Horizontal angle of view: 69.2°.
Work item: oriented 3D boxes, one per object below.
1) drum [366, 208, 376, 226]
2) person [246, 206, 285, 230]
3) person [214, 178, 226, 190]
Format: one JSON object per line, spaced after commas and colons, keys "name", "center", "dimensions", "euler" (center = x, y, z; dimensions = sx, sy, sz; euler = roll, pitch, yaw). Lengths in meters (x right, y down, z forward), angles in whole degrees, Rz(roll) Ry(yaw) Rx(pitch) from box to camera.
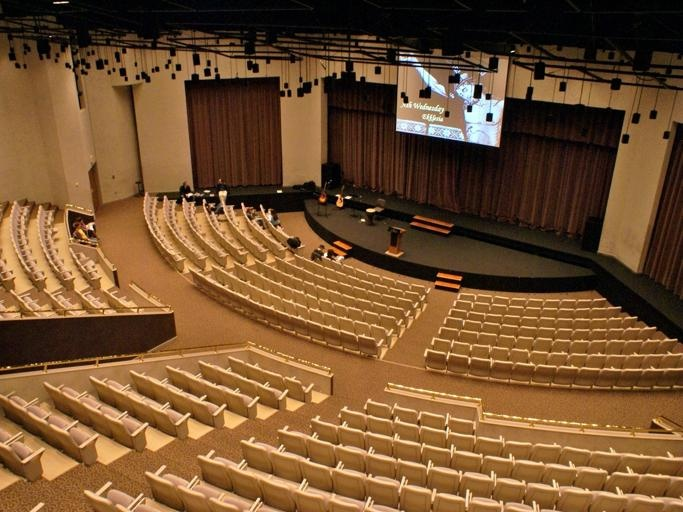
{"name": "drum", "center": [1.110, -1.559, 19.041], "dimensions": [0.496, 0.622, 0.533], "euler": [-1, 27, 0]}
{"name": "person", "center": [-3.034, -1.457, 19.212], "dimensions": [0.957, 0.458, 1.329], "euler": [-1, 21, -18]}
{"name": "person", "center": [-5.126, -3.026, 21.234], "dimensions": [0.403, 0.540, 1.252], "euler": [-2, 24, -12]}
